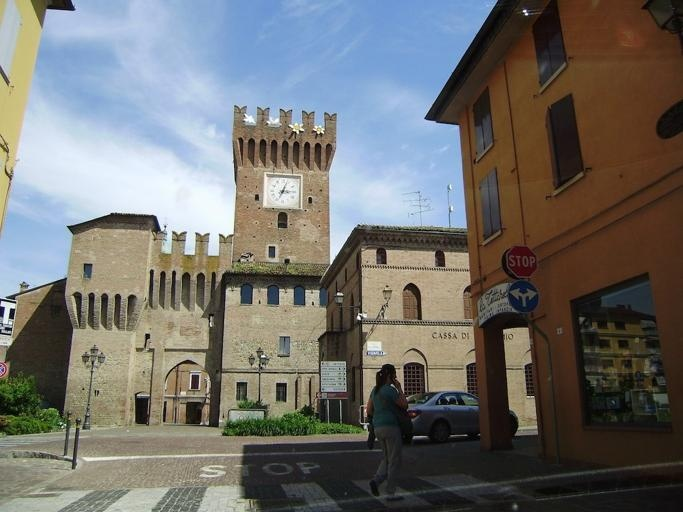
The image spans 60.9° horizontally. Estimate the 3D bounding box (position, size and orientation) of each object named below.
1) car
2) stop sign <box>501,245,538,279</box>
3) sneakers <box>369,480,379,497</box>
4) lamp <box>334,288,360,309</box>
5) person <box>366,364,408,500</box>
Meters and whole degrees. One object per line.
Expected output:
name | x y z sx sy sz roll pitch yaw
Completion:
car | 3.327 5.278 19.349 2.629 1.665 1.920 1 -17 -8
stop sign | 4.247 0.130 13.839 0.765 0.794 0.277 2 -8 -11
sneakers | 0.542 4.055 10.184 0.129 0.380 0.158 -9 10 12
lamp | 0.029 2.439 32.481 1.449 0.998 0.952 9 -18 -14
person | 0.799 3.067 10.314 0.635 2.245 0.787 2 -17 -9
